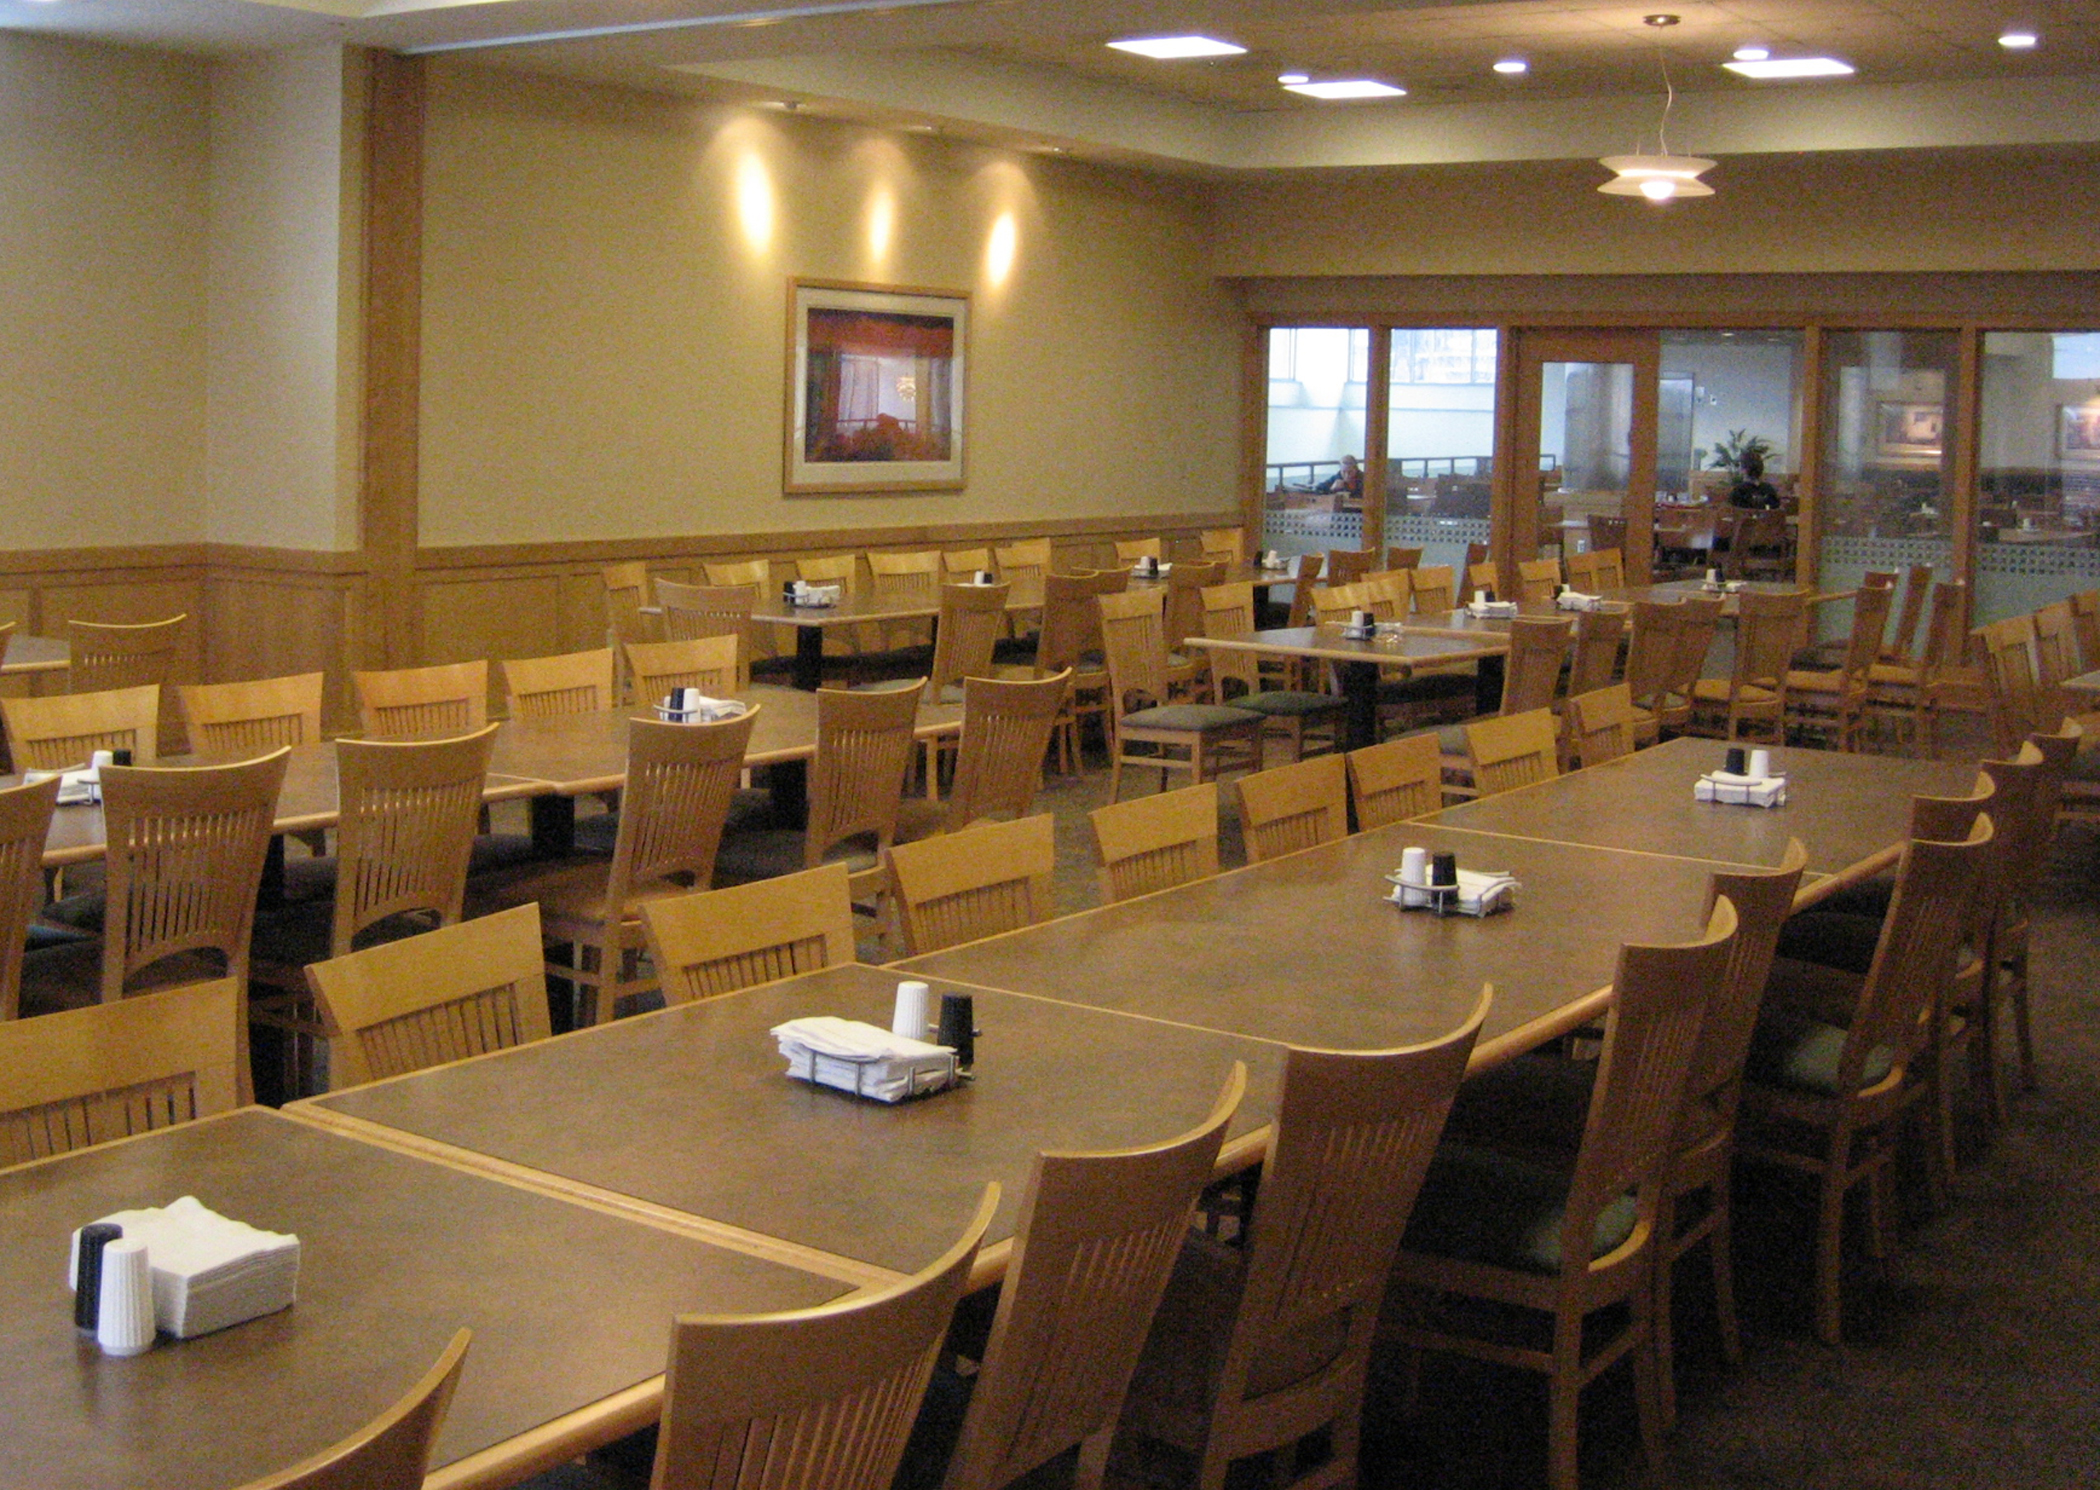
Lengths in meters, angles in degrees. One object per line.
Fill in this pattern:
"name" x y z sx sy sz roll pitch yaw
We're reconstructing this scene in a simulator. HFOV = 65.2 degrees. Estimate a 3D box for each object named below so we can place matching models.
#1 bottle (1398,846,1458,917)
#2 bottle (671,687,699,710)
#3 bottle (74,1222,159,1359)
"bottle" 0.918 0.330 3.923 0.163 0.168 0.128 1 6 19
"bottle" -1.254 -0.153 5.635 0.074 0.114 0.122 1 3 -3
"bottle" -1.084 0.628 1.904 0.079 0.121 0.132 -9 16 -39
